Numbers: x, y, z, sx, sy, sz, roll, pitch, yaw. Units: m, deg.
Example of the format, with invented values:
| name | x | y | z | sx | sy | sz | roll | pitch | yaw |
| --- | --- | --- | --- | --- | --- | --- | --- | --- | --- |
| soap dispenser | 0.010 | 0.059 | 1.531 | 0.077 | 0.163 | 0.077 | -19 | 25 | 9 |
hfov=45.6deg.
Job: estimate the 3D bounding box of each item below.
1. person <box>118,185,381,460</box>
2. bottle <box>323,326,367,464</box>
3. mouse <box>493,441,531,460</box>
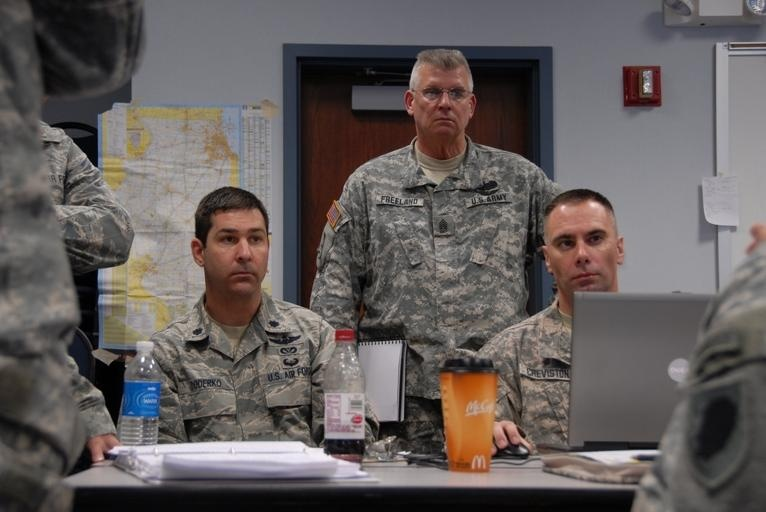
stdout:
| name | x | y | z | sx | sy | sz | roll | pitch | yaw |
| --- | --- | --- | --- | --- | --- | --- | --- | --- | --- |
| person | -0.427 | 0.272 | 2.856 | 0.677 | 0.981 | 0.562 | -4 | -15 | -11 |
| bottle | -0.099 | 0.353 | 2.335 | 0.101 | 0.321 | 0.283 | 1 | 2 | -3 |
| mouse | 0.331 | 0.509 | 2.346 | 0.089 | 0.039 | 0.035 | -9 | -7 | 18 |
